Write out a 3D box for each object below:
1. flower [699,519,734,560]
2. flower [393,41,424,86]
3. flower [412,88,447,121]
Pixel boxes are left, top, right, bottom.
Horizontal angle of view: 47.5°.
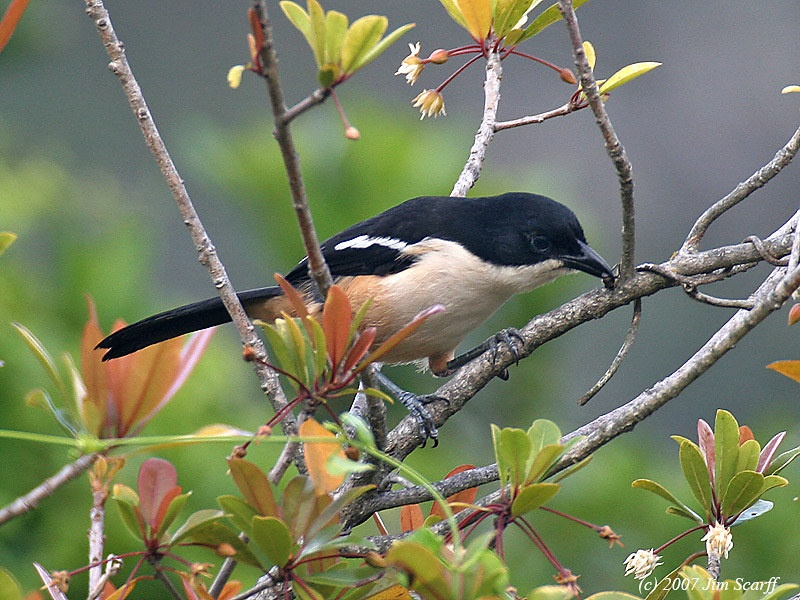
[{"bbox_3d":[0.961,0.739,2.793,0.123,0.092,0.086,-9,-91,2],"label":"flower"},{"bbox_3d":[0.072,-0.915,3.518,0.157,0.187,0.073,-6,-99,11],"label":"flower"},{"bbox_3d":[0.116,-0.789,3.726,0.089,0.186,0.141,-13,-90,-6],"label":"flower"}]
